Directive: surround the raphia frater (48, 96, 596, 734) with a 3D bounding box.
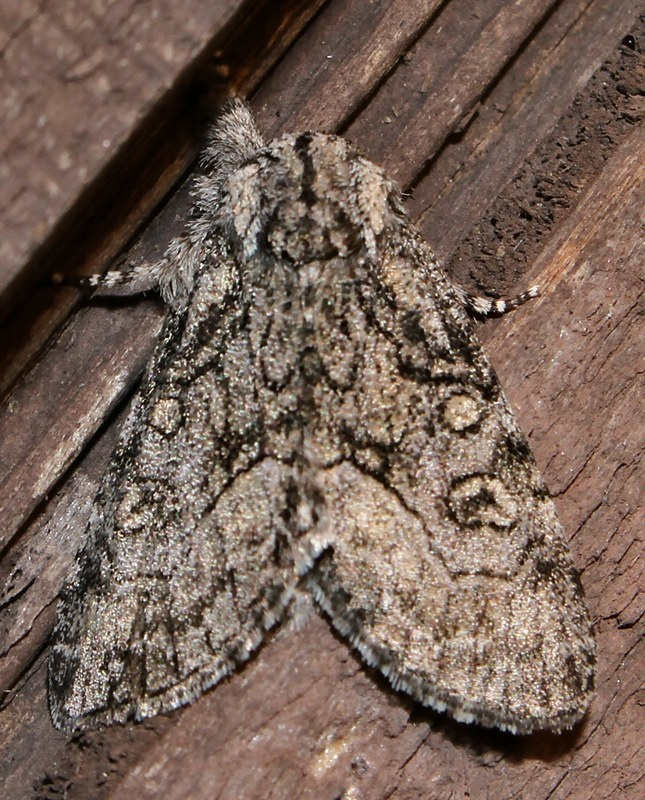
[{"bbox_3d":[-0.068,0.128,3.654,2.072,2.008,0.607,-2,7,3],"label":"raphia frater"}]
